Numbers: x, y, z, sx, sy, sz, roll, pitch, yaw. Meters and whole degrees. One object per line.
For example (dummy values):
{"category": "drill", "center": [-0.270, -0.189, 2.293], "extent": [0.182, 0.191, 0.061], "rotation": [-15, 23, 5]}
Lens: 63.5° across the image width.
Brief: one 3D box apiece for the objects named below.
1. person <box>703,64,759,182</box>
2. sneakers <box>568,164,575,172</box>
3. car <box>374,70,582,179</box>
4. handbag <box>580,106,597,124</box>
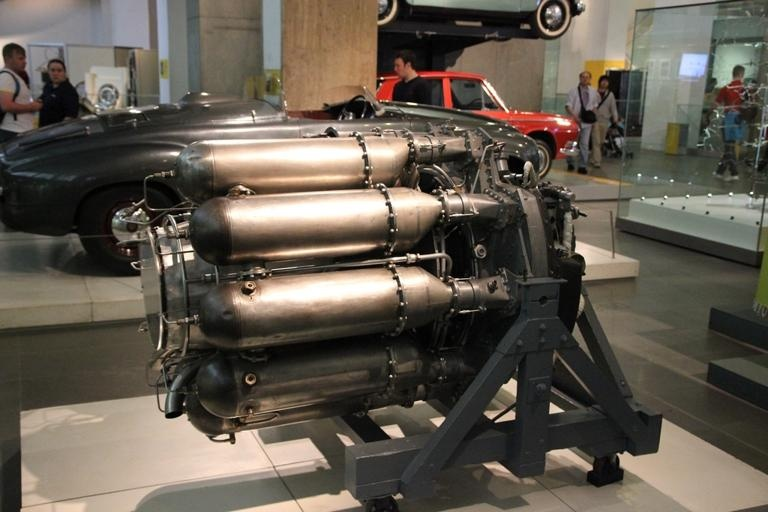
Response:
{"category": "person", "center": [4.548, -1.618, 8.109], "extent": [0.154, 1.207, 0.499], "rotation": [-7, 17, -13]}
{"category": "sneakers", "center": [3.750, -1.777, 12.445], "extent": [0.159, 0.140, 0.158], "rotation": [3, 2, -8]}
{"category": "car", "center": [1.728, -2.116, 10.503], "extent": [3.636, 1.434, 2.004], "rotation": [-3, 13, -16]}
{"category": "handbag", "center": [4.066, -2.788, 12.332], "extent": [0.359, 0.316, 0.131], "rotation": [-7, 17, -17]}
